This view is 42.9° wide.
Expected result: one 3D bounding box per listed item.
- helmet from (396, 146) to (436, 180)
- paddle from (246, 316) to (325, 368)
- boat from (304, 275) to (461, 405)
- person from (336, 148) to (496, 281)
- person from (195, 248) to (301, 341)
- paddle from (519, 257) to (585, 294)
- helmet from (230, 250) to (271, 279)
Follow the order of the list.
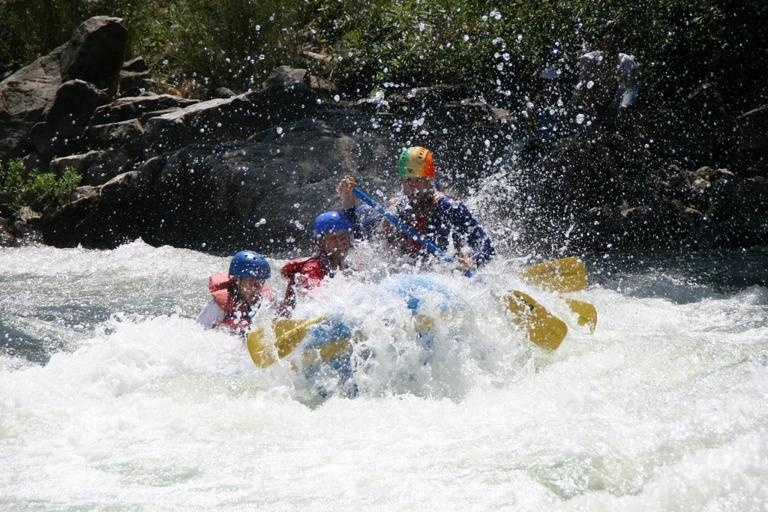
[{"bbox_3d":[0.440,-1.194,12.847,0.427,0.449,0.549,0,-1,17],"label":"helmet"},{"bbox_3d":[-1.206,0.990,11.793,1.159,0.375,0.170,-29,-6,-18],"label":"paddle"},{"bbox_3d":[-0.176,0.778,11.767,2.068,0.684,0.992,-32,34,-6],"label":"boat"},{"bbox_3d":[0.383,-0.518,13.577,1.290,2.014,0.720,-34,17,26],"label":"person"},{"bbox_3d":[-1.794,0.593,12.391,0.915,1.215,1.266,10,23,-17],"label":"person"},{"bbox_3d":[2.389,0.218,13.287,0.695,0.316,1.414,-1,16,11],"label":"paddle"},{"bbox_3d":[-1.623,0.109,12.241,0.450,0.304,0.327,12,5,28],"label":"helmet"}]
